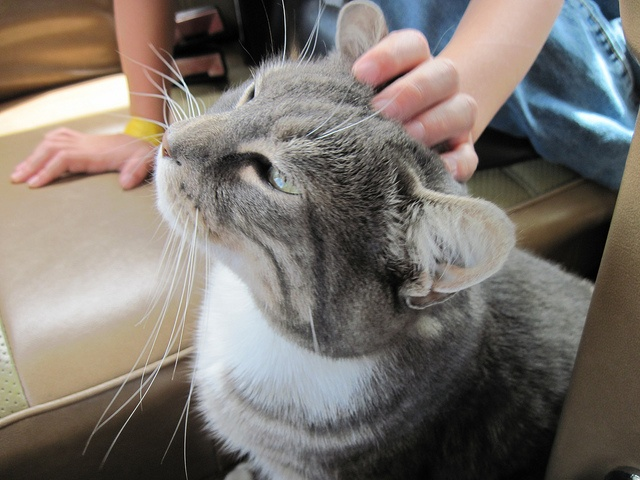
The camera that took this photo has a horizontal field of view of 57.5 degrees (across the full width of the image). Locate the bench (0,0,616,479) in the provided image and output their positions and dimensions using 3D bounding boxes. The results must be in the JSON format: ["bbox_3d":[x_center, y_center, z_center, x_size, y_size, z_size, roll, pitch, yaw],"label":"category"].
[{"bbox_3d":[-0.042,-0.027,0.871,0.586,0.662,0.254,-4,6,-8],"label":"bench"}]
